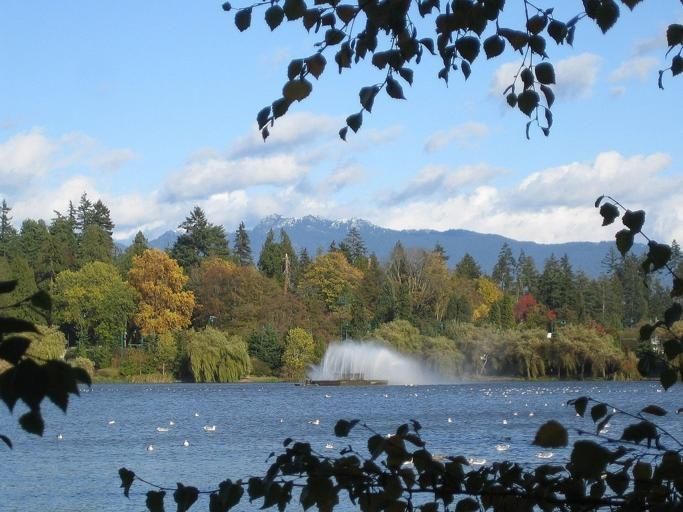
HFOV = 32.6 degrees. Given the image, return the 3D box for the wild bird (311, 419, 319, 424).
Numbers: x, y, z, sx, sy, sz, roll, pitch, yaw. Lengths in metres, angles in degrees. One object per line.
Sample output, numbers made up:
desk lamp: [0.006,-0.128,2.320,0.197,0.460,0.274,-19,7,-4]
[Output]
wild bird: [-1.244,7.729,54.757,0.246,0.138,0.256,-5,-3,11]
